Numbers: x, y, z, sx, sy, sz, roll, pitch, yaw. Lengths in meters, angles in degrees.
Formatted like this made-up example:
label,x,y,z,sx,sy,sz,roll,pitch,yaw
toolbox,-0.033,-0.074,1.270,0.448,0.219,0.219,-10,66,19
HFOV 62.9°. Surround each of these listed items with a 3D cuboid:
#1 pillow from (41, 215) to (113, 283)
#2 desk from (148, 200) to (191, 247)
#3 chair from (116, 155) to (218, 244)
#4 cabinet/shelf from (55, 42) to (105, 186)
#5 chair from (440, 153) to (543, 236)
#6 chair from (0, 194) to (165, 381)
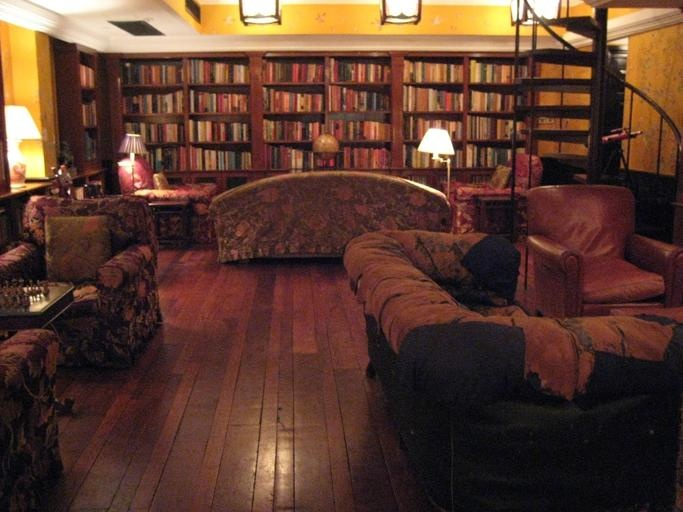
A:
label,x,y,z,sx,sy,sz,roll,pitch,yaw
pillow,-1.940,-0.046,4.094,0.489,0.514,0.206,-3,-14,-7
desk,-2.246,-0.458,7.415,0.513,0.548,0.517,2,13,-6
chair,-2.290,-0.708,7.660,1.466,1.160,1.402,-1,11,-10
cabinet/shelf,-3.730,-2.089,7.917,0.401,1.792,0.967,-4,15,1
chair,2.180,-0.805,7.948,1.286,1.219,1.240,0,6,0
chair,-2.019,0.176,4.236,1.256,1.123,1.219,0,7,-4
